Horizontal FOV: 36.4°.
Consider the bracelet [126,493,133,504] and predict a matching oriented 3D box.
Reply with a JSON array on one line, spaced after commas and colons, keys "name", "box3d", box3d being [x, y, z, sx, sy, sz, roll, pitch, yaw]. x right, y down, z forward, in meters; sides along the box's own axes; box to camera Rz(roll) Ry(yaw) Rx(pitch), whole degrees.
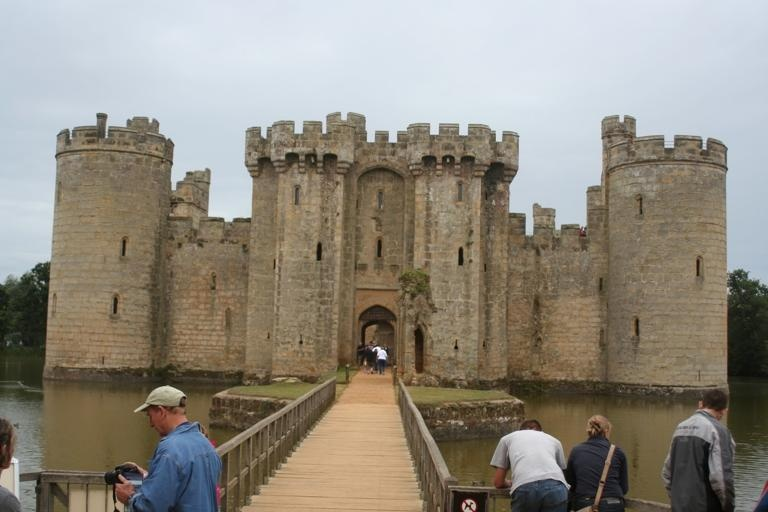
[{"name": "bracelet", "box3d": [-8.090, 7.720, 37.113, 0.058, 0.267, 0.268, 27, -44, -15]}]
